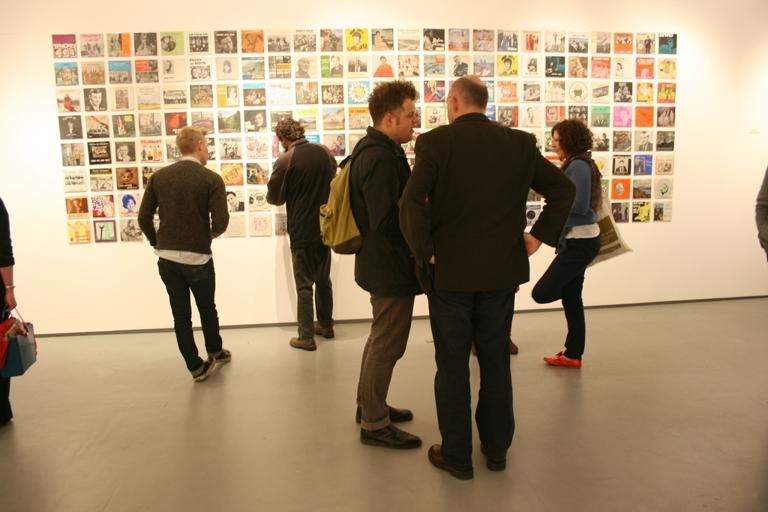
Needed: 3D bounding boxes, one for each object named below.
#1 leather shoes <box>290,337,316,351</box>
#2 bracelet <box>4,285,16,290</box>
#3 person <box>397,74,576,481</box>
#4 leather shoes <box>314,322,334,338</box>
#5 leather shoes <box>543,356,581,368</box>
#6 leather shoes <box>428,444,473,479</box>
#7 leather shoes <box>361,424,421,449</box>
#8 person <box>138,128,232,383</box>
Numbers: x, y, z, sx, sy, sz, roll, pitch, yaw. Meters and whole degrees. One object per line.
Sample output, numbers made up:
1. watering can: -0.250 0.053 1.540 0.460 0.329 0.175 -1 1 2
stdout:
1. leather shoes: -0.934 1.015 6.842 0.315 0.136 0.122 12 11 42
2. bracelet: -3.300 0.283 5.254 0.090 0.037 0.042 0 11 0
3. person: 0.763 0.155 4.747 1.061 3.083 0.750 -9 14 -37
4. leather shoes: -0.721 0.891 7.159 0.110 0.129 0.277 -3 12 -32
5. leather shoes: 1.849 1.092 6.211 0.344 0.138 0.126 3 -3 11
6. leather shoes: 0.515 1.656 4.720 0.165 0.150 0.382 -7 15 -33
7. leather shoes: 0.055 1.530 5.098 0.523 0.227 0.186 -2 3 5
8. person: -2.004 -0.019 6.100 0.677 2.519 0.612 -10 15 -42
